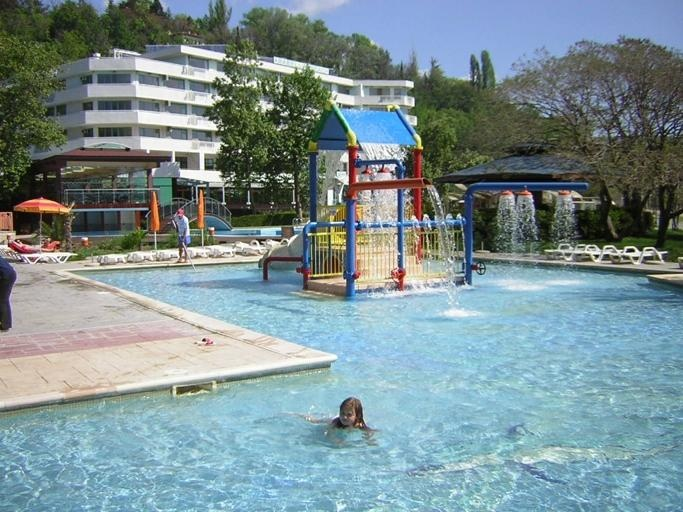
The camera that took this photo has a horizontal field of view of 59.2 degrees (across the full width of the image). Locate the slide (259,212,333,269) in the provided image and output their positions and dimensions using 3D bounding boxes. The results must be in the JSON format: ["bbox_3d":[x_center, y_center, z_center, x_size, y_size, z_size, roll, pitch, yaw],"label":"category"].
[{"bbox_3d":[-1.824,-0.479,22.305,2.329,2.452,5.323,-2,8,-9],"label":"slide"}]

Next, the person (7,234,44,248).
[{"bbox_3d":[-17.500,-0.839,33.458,1.482,0.442,1.038,-6,-5,39],"label":"person"}]
